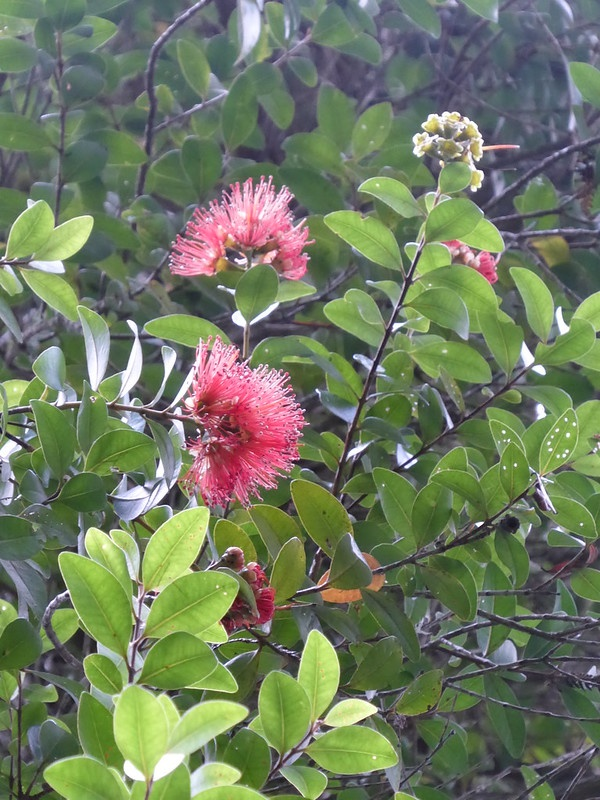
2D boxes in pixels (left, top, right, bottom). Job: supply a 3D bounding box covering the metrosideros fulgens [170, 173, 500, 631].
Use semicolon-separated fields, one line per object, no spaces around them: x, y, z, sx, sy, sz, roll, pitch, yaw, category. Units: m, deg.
-0.099;-0.039;2.291;0.515;0.352;0.781;21;77;6;metrosideros fulgens
